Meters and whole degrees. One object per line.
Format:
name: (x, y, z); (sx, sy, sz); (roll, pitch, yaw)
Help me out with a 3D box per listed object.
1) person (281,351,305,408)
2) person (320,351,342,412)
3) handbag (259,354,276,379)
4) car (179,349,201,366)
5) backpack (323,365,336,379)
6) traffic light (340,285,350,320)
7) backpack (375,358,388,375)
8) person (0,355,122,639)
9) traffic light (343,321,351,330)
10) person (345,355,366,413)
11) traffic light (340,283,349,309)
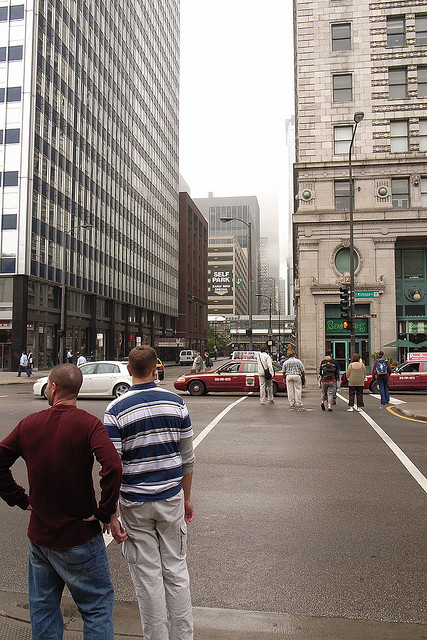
person: (2.130, 1.595, 15.571); (0.449, 1.593, 0.448); (-3, -24, 6)
person: (3.240, 1.704, 16.326); (0.522, 1.440, 2.455); (-1, -4, 10)
handbag: (1.417, 1.280, 16.186); (0.326, 0.679, 0.578); (-3, -5, 34)
car: (-3.086, 4.304, 68.545); (1.240, 1.435, 2.604); (0, 5, 7)
backpack: (3.111, 1.386, 15.718); (0.261, 0.425, 0.266); (0, -13, 6)
traffic light: (5.516, -0.692, 24.502); (0.326, 1.329, 2.308); (-1, -4, 12)
backpack: (4.849, 1.270, 16.909); (0.390, 0.376, 0.634); (1, 29, 15)
person: (-0.713, 0.827, 2.742); (0.582, 1.227, 0.320); (0, -3, -2)
traffic light: (5.450, 0.201, 23.969); (0.249, 0.188, 0.403); (3, -12, 1)
person: (3.725, 1.531, 15.301); (0.454, 1.632, 0.489); (-5, 25, -1)
traffic light: (5.330, -1.007, 23.721); (0.299, 0.898, 0.668); (-1, -4, 13)
